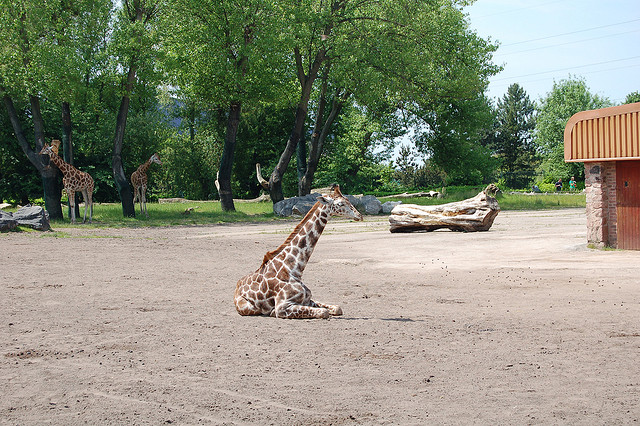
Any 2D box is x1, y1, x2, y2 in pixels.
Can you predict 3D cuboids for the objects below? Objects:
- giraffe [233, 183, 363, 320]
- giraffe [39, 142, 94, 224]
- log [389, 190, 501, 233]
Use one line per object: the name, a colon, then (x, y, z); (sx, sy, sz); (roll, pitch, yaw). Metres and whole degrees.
giraffe: (-0.850, 1.678, 34.090); (4.992, 4.900, 2.098); (-1, 0, 9)
giraffe: (-14.640, -1.769, 53.582); (2.239, 4.812, 2.970); (0, 1, 42)
log: (6.961, -0.118, 50.507); (5.736, 2.623, 2.524); (2, -2, 17)
